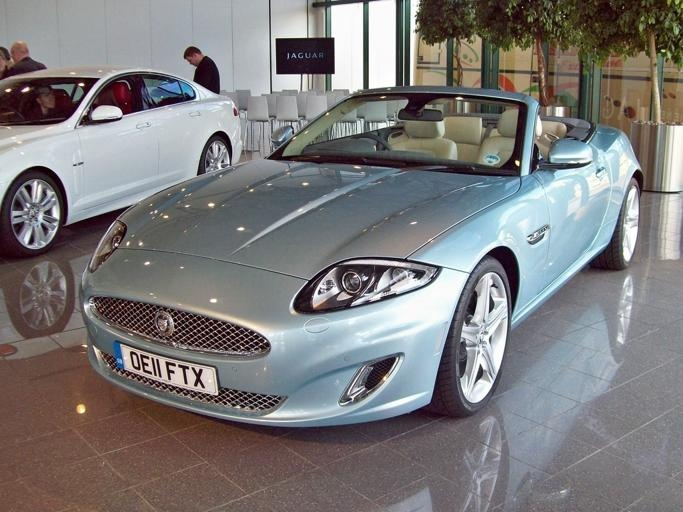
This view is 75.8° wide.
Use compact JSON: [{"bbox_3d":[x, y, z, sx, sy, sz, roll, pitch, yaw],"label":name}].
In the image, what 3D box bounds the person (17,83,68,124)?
[{"bbox_3d":[-3.383,-1.748,4.982,0.750,0.461,0.383,7,15,30],"label":"person"}]
